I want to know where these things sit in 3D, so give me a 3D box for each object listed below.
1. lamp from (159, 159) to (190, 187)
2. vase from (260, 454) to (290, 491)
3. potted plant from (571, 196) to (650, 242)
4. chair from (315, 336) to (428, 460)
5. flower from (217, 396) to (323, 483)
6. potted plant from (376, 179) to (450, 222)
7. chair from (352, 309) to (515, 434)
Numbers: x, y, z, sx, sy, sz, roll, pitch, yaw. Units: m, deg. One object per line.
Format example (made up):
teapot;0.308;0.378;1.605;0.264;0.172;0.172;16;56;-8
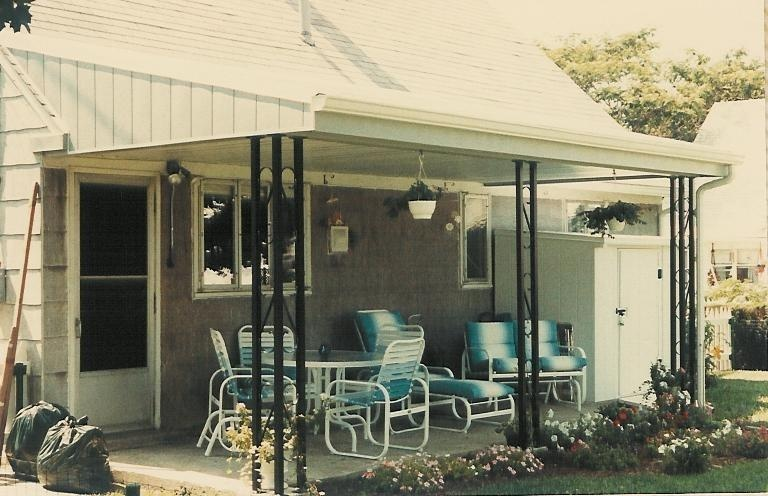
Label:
lamp;-3.236;-1.171;19.713;0.410;0.388;0.176;0;-3;-14
vase;-1.612;3.117;17.762;0.444;0.462;0.435;1;-1;-22
potted plant;4.021;-0.546;23.466;0.984;0.518;1.022;0;-6;-8
chair;-0.014;2.327;19.891;1.621;2.344;1.701;-1;-4;37
flower;-1.782;2.718;18.045;1.230;1.281;1.076;0;-3;4
potted plant;0.413;-0.818;21.540;0.587;0.470;1.071;-2;-8;-4
chair;0.766;1.967;20.808;2.786;1.857;1.165;0;-2;45
